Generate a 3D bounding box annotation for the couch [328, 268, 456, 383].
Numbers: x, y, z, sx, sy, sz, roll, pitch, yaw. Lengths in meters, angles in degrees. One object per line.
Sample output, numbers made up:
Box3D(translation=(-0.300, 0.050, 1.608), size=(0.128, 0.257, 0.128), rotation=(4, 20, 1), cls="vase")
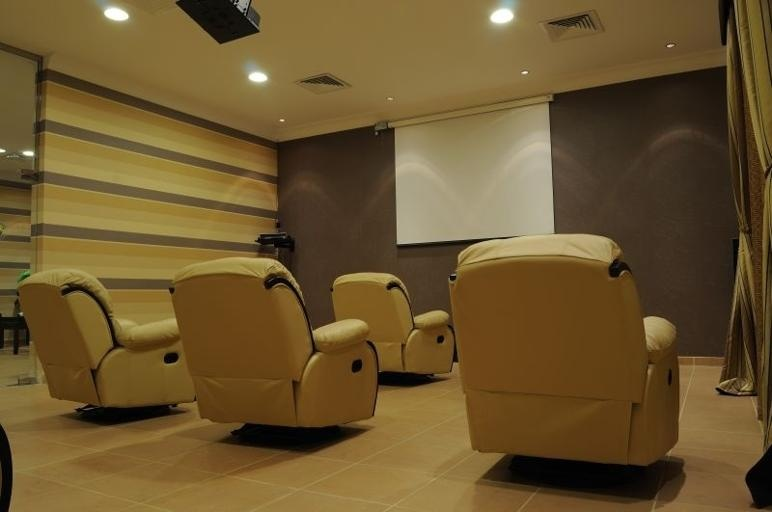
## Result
Box3D(translation=(0.090, 0.839, 6.326), size=(1.326, 1.166, 1.240), rotation=(2, -5, -29), cls="couch")
